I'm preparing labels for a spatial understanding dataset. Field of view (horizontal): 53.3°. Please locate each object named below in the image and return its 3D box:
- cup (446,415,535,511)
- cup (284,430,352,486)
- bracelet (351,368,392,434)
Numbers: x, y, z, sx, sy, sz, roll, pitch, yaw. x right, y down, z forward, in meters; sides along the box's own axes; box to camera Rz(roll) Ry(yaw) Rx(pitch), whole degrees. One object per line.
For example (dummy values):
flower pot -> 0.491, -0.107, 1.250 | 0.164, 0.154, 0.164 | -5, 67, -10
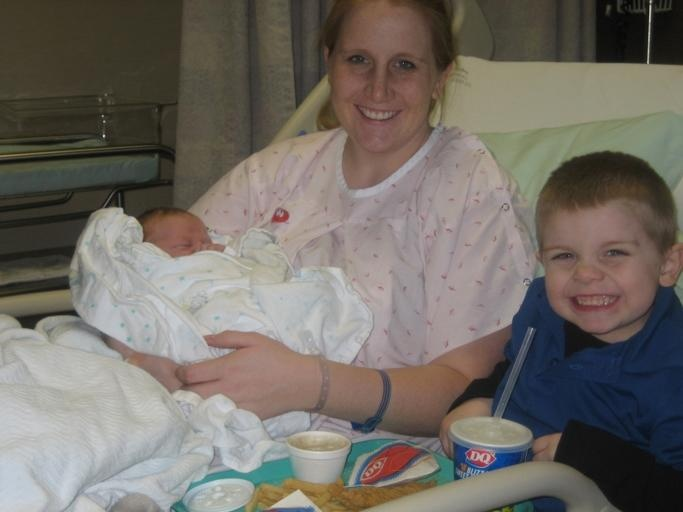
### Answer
cup -> 0.270, 0.357, 1.243 | 0.117, 0.101, 0.124 | 0, 7, 0
cup -> -0.047, 0.390, 1.325 | 0.098, 0.075, 0.111 | -6, 9, -43
bracelet -> 0.076, 0.330, 1.540 | 0.044, 0.128, 0.110 | 16, 23, -3
